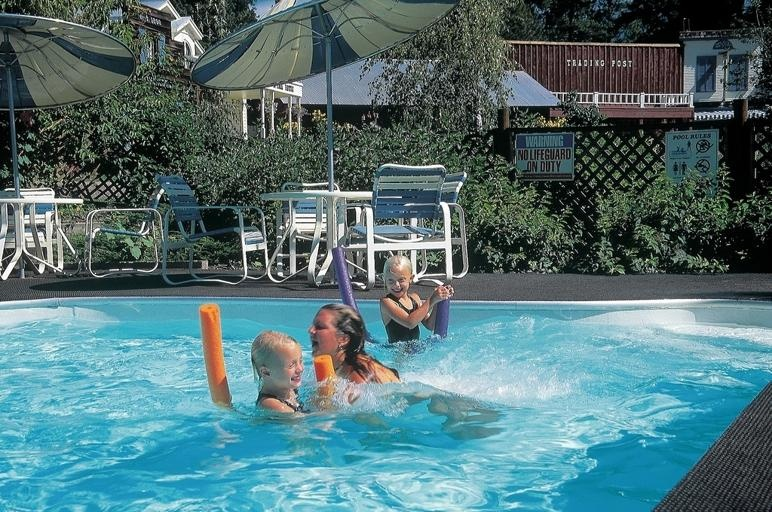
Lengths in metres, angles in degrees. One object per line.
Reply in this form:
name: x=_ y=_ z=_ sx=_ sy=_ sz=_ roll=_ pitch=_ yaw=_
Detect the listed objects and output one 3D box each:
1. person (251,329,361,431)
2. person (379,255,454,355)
person: x=-0.595 y=0.930 z=5.577 sx=0.810 sy=0.899 sz=0.555 roll=2 pitch=25 yaw=10
person: x=0.291 y=0.583 z=6.896 sx=0.730 sy=1.085 sz=0.515 roll=14 pitch=25 yaw=24
